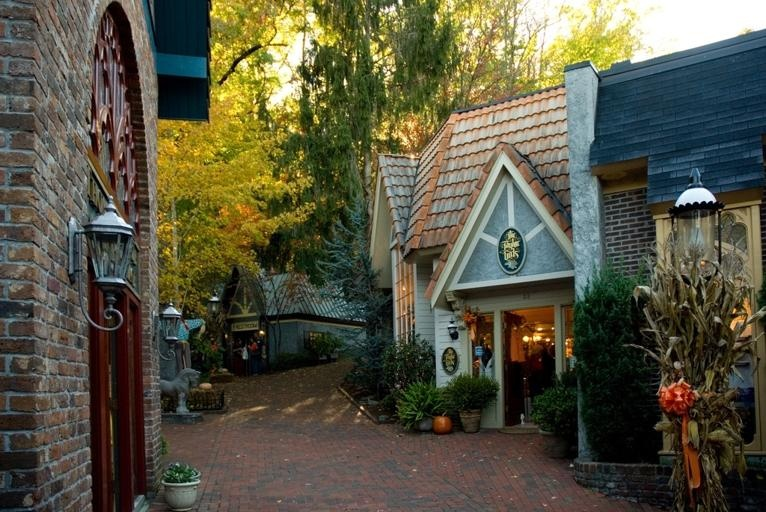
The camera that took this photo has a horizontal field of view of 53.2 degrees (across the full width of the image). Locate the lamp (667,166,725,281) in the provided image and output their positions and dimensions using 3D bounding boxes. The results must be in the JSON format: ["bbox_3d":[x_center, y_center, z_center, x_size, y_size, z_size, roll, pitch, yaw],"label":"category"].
[{"bbox_3d":[4.604,-0.441,11.311,0.719,1.731,0.711,-2,-9,21],"label":"lamp"}]

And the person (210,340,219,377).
[{"bbox_3d":[-7.293,4.343,33.099,0.299,1.421,2.668,3,-11,-12],"label":"person"}]

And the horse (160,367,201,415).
[{"bbox_3d":[-5.850,3.766,21.321,1.830,1.272,0.375,-6,-5,24],"label":"horse"}]

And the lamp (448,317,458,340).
[{"bbox_3d":[1.755,1.848,19.450,0.285,0.589,0.457,0,-10,5],"label":"lamp"}]

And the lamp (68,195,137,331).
[{"bbox_3d":[-2.960,0.063,8.138,0.646,1.430,0.521,0,-6,-30],"label":"lamp"}]

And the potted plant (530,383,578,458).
[{"bbox_3d":[3.551,3.309,15.051,1.113,1.392,1.143,-2,-5,-7],"label":"potted plant"}]
